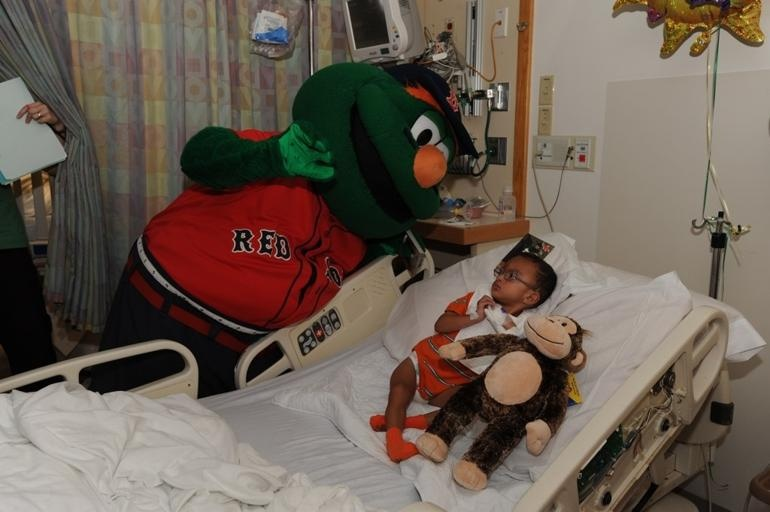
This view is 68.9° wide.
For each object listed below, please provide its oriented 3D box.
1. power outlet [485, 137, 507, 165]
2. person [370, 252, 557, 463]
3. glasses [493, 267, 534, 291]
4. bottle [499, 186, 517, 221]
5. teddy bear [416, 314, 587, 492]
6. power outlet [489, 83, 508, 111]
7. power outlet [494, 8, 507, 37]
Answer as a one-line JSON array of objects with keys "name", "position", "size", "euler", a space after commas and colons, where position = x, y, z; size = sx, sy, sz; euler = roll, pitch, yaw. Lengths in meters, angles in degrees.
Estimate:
[{"name": "power outlet", "position": [0.629, -0.599, 3.165], "size": [0.022, 0.188, 0.151], "euler": [-4, 6, -39]}, {"name": "person", "position": [0.267, 0.416, 2.342], "size": [0.356, 0.350, 1.091], "euler": [-6, 34, 35]}, {"name": "glasses", "position": [0.532, 0.110, 2.284], "size": [0.099, 0.033, 0.097], "euler": [24, -8, -35]}, {"name": "bottle", "position": [0.686, -0.315, 3.125], "size": [0.094, 0.172, 0.198], "euler": [2, 21, 11]}, {"name": "teddy bear", "position": [0.442, 0.508, 2.021], "size": [0.667, 0.235, 0.455], "euler": [-45, 55, -11]}, {"name": "power outlet", "position": [0.639, -0.885, 3.116], "size": [0.128, 0.139, 0.032], "euler": [8, 13, 39]}, {"name": "power outlet", "position": [0.638, -1.274, 3.057], "size": [0.074, 0.151, 0.039], "euler": [7, 21, 22]}]
